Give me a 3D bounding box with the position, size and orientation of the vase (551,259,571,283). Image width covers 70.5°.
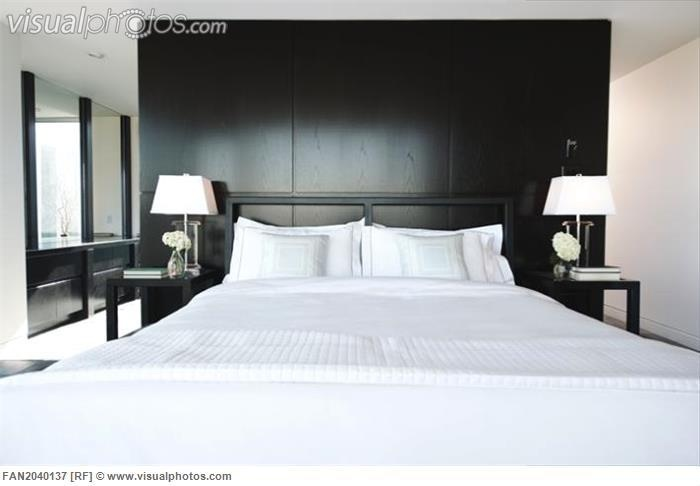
[{"bbox_3d":[1.657,0.221,3.970,0.158,0.238,0.144,0,-5,3],"label":"vase"}]

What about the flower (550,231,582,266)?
[{"bbox_3d":[1.726,0.036,3.943,0.099,0.252,0.247,-8,1,-38],"label":"flower"}]

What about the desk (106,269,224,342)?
[{"bbox_3d":[-1.569,0.410,4.281,0.611,0.811,0.851,0,2,0],"label":"desk"}]
